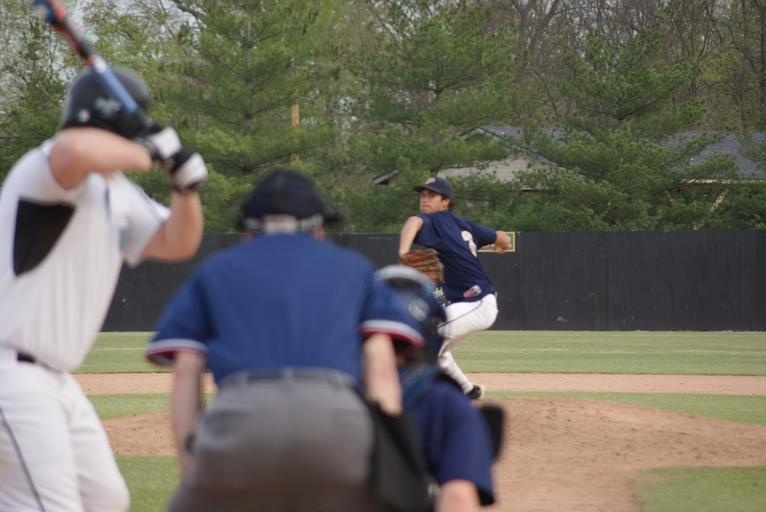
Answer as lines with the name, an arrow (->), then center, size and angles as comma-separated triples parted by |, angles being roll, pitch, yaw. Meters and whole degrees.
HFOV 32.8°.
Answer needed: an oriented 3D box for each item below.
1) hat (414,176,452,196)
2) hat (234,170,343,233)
hat -> 1.133, -1.421, 27.725 | 0.636, 0.311, 0.449 | 24, 2, -16
hat -> -1.781, -0.822, 23.069 | 1.257, 0.673, 1.365 | -1, 1, 43
